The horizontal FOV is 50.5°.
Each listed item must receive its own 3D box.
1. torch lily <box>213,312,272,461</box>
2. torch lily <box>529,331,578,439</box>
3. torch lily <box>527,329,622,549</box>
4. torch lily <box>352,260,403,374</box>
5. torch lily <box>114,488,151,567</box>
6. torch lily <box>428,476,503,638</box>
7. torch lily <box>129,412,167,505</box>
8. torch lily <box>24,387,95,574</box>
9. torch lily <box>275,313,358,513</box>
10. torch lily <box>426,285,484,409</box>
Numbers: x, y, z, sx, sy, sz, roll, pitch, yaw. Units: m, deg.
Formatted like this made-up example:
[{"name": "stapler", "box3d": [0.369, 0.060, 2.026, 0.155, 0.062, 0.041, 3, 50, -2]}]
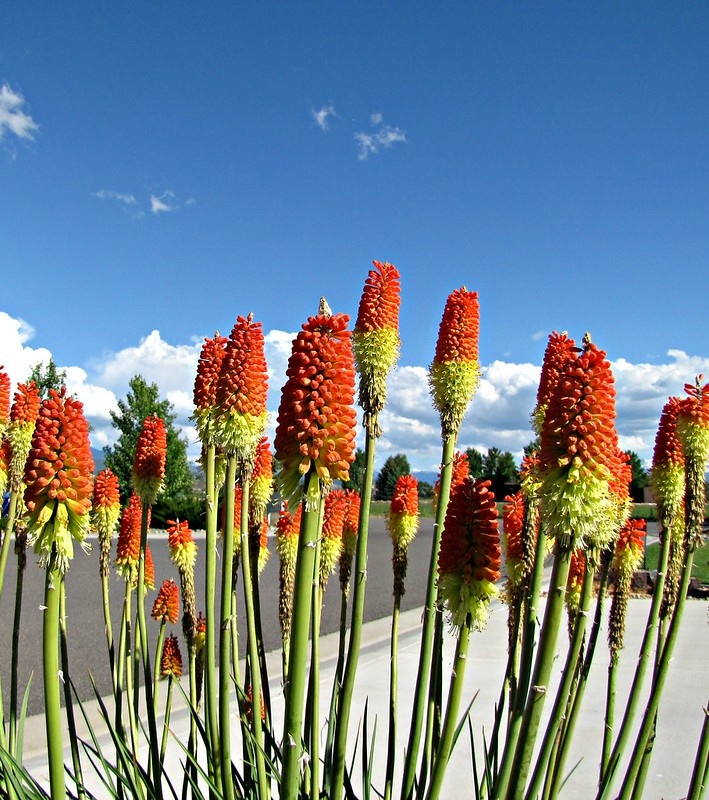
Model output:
[{"name": "torch lily", "box3d": [-0.553, -0.057, 3.968, 0.330, 0.770, 0.436, 7, -1, -27]}, {"name": "torch lily", "box3d": [0.909, -0.026, 3.347, 0.138, 0.171, 0.427, 16, 24, 22]}, {"name": "torch lily", "box3d": [0.924, 0.157, 3.070, 0.306, 0.725, 0.344, 6, -1, 13]}, {"name": "torch lily", "box3d": [0.128, -0.448, 4.026, 0.262, 0.577, 0.307, 6, -1, 1]}, {"name": "torch lily", "box3d": [-1.688, 0.998, 5.616, 0.149, 0.616, 0.642, 6, -1, -17]}, {"name": "torch lily", "box3d": [0.475, 0.652, 3.082, 0.293, 0.562, 0.249, 5, -1, 26]}, {"name": "torch lily", "box3d": [-1.361, 0.415, 4.976, 0.206, 0.615, 0.447, 6, -1, -16]}, {"name": "torch lily", "box3d": [-1.189, 0.330, 3.024, 0.261, 0.793, 0.359, 6, -1, -22]}, {"name": "torch lily", "box3d": [-0.139, 0.033, 2.883, 0.304, 0.710, 0.319, 6, -1, -7]}, {"name": "torch lily", "box3d": [0.598, -0.289, 4.380, 0.280, 0.658, 0.216, 6, -1, 6]}]
